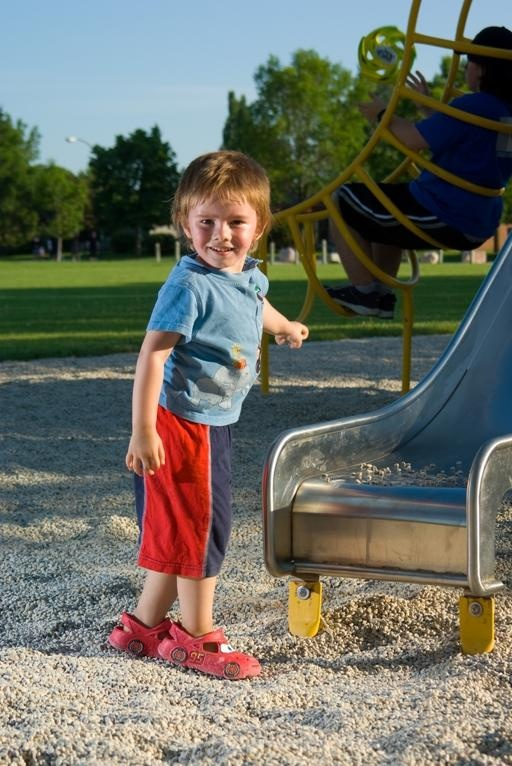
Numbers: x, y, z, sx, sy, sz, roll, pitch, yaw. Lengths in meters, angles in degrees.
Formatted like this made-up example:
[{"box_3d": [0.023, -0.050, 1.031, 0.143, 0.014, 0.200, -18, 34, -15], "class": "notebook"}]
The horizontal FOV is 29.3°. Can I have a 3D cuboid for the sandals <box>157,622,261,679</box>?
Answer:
[{"box_3d": [-0.097, 0.530, 1.975, 0.223, 0.083, 0.078, 10, -2, 13], "class": "sandals"}]

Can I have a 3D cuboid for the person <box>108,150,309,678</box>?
[{"box_3d": [-0.144, 0.049, 2.030, 0.369, 1.045, 0.449, -2, 10, 1], "class": "person"}]

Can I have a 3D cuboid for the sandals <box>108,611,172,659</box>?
[{"box_3d": [-0.243, 0.529, 2.041, 0.141, 0.052, 0.067, 9, 3, -7], "class": "sandals"}]
